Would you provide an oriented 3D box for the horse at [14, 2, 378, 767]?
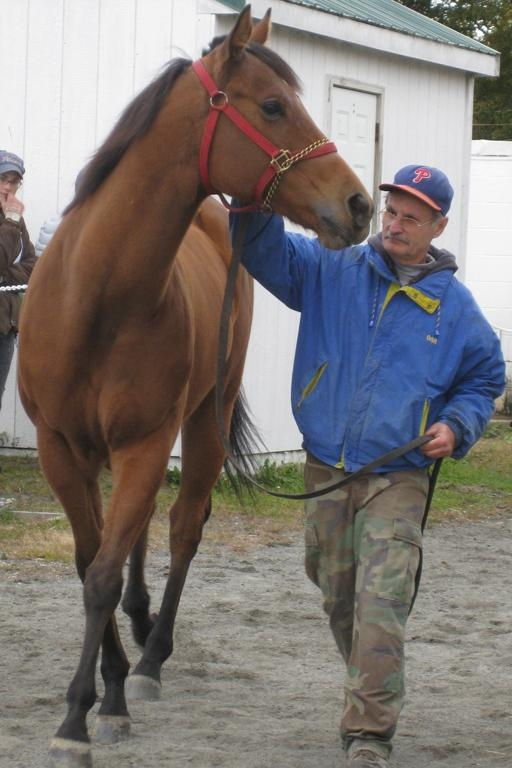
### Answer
[{"bbox_3d":[-0.345,-0.036,4.089,0.911,2.291,1.457,3,6,-11],"label":"horse"}]
